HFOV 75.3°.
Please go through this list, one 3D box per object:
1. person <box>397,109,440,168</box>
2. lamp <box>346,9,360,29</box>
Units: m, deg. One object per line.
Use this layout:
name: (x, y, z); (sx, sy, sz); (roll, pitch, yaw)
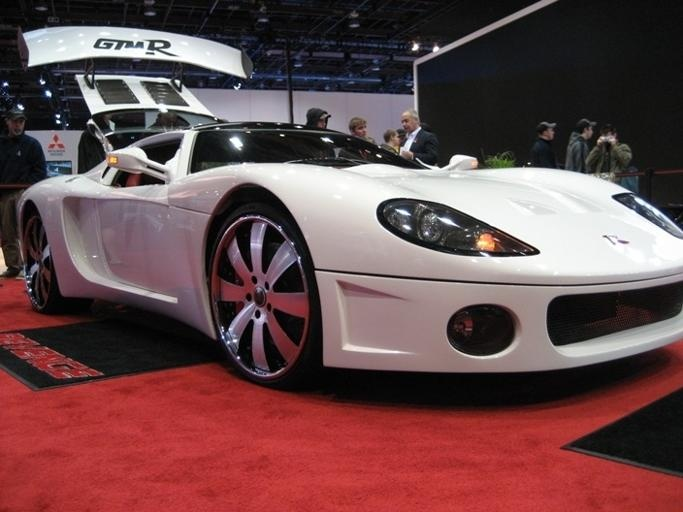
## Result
person: (1.051, -1.683, 6.509); (0.426, 0.841, 0.731); (3, -5, -38)
lamp: (0.407, -8.207, 15.232); (0.341, 0.685, 0.743); (-1, 4, -2)
